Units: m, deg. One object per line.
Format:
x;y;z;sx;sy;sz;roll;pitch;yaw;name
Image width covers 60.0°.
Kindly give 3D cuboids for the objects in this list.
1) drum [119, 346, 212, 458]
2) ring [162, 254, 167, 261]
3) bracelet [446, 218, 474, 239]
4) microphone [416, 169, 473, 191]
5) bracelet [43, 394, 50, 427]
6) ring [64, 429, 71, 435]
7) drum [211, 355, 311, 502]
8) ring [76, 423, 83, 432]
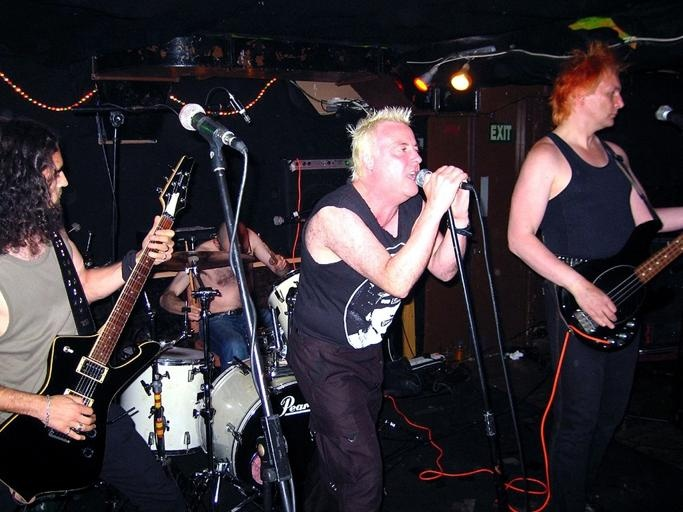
-1.240;1.043;4.504;0.696;0.712;0.718;1;5;-5;drum
-1.026;0.008;3.440;0.007;0.030;0.031;9;-9;3;ring
0.603;-0.133;3.028;0.122;0.053;0.096;32;26;32;bracelet
0.492;-0.381;3.020;0.370;0.118;0.120;7;8;44;microphone
-1.507;0.796;3.037;0.035;0.140;0.050;2;8;5;bracelet
-1.423;0.913;3.066;0.010;0.036;0.034;15;12;40;ring
-0.561;1.244;4.247;0.789;0.815;0.488;-6;20;-37;drum
-1.371;0.904;3.103;0.034;0.036;0.008;3;9;-32;ring
